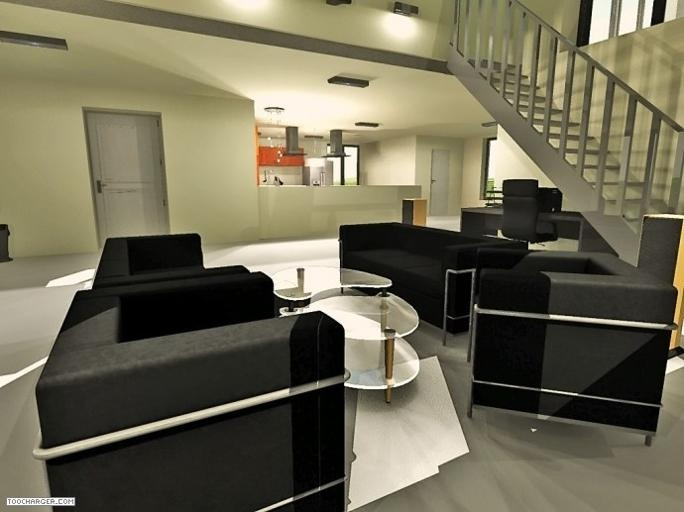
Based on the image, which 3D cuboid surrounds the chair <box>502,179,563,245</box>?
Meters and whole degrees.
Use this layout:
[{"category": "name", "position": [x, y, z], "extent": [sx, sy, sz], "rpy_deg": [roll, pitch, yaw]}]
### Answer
[{"category": "chair", "position": [2.939, -0.712, 7.118], "extent": [1.558, 0.856, 0.704], "rpy_deg": [-10, 15, -38]}]

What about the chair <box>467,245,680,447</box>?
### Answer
[{"category": "chair", "position": [1.727, 0.669, 3.782], "extent": [1.263, 1.242, 1.275], "rpy_deg": [9, 17, 30]}]

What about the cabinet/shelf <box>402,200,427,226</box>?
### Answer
[{"category": "cabinet/shelf", "position": [1.550, -0.936, 10.443], "extent": [0.426, 0.544, 0.694], "rpy_deg": [-2, 12, -6]}]
